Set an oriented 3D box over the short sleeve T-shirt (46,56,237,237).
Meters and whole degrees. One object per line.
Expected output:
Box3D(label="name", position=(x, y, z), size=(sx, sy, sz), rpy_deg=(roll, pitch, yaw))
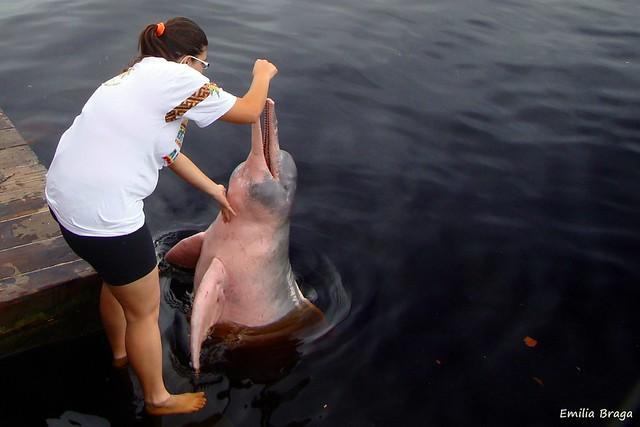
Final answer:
Box3D(label="short sleeve T-shirt", position=(-1.553, -0.836, 4.952), size=(1.106, 1.352, 1.680), rpy_deg=(40, 44, 21))
